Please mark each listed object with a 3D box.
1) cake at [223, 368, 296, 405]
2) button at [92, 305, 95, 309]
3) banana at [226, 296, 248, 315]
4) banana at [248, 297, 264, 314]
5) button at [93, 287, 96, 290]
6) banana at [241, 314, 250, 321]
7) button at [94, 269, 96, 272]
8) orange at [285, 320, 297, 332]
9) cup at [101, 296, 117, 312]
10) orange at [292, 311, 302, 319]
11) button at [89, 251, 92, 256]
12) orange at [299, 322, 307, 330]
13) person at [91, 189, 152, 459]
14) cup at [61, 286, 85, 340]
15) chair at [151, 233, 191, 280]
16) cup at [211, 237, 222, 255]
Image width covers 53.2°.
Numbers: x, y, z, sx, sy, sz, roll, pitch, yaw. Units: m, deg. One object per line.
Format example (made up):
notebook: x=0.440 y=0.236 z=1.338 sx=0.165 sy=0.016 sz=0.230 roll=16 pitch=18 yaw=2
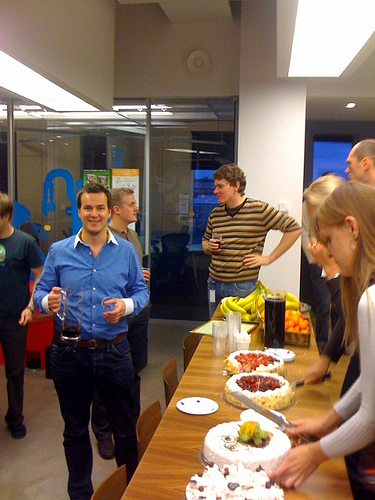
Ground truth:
cake: x=0.275 y=0.498 z=1.321 sx=0.181 sy=0.051 sz=0.202 roll=-2 pitch=-3 yaw=16
button: x=-0.477 y=0.291 z=1.913 sx=0.012 sy=0.016 sz=0.012 roll=-4 pitch=5 yaw=-18
banana: x=0.305 y=0.353 z=2.462 sx=0.091 sy=0.034 sz=0.103 roll=24 pitch=13 yaw=-31
banana: x=0.432 y=0.371 z=2.385 sx=0.057 sy=0.159 sz=0.037 roll=22 pitch=18 yaw=2
button: x=-0.483 y=0.200 z=1.940 sx=0.014 sy=0.015 sz=0.003 roll=1 pitch=5 yaw=-14
banana: x=0.374 y=0.441 z=2.449 sx=0.055 sy=0.045 sz=0.025 roll=-4 pitch=5 yaw=-11
button: x=-0.483 y=0.108 z=1.954 sx=0.015 sy=0.016 sz=0.004 roll=0 pitch=-1 yaw=-8
orange: x=0.564 y=0.415 z=2.062 sx=0.052 sy=0.067 sz=0.054 roll=-3 pitch=8 yaw=-2
cup: x=-0.381 y=0.254 z=1.829 sx=0.062 sy=0.069 sz=0.063 roll=0 pitch=15 yaw=0
orange: x=0.620 y=0.368 z=2.137 sx=0.037 sy=0.027 sz=0.046 roll=7 pitch=0 yaw=3
button: x=-0.509 y=0.020 z=1.979 sx=0.013 sy=0.013 sz=0.004 roll=-4 pitch=5 yaw=-10
orange: x=0.638 y=0.420 z=2.079 sx=0.034 sy=0.046 sz=0.036 roll=-7 pitch=9 yaw=23
person: x=-0.535 y=0.596 z=3.027 sx=0.635 sy=2.180 sz=0.651 roll=-2 pitch=9 yaw=-14
cup: x=-0.558 y=0.307 z=1.851 sx=0.119 sy=0.225 sz=0.224 roll=-4 pitch=5 yaw=-16
chair: x=-0.234 y=0.171 z=5.214 sx=0.564 sy=0.904 sz=0.608 roll=1 pitch=-5 yaw=-8
cup: x=0.243 y=-0.030 z=3.135 sx=0.083 sy=0.167 sz=0.225 roll=-2 pitch=5 yaw=5
